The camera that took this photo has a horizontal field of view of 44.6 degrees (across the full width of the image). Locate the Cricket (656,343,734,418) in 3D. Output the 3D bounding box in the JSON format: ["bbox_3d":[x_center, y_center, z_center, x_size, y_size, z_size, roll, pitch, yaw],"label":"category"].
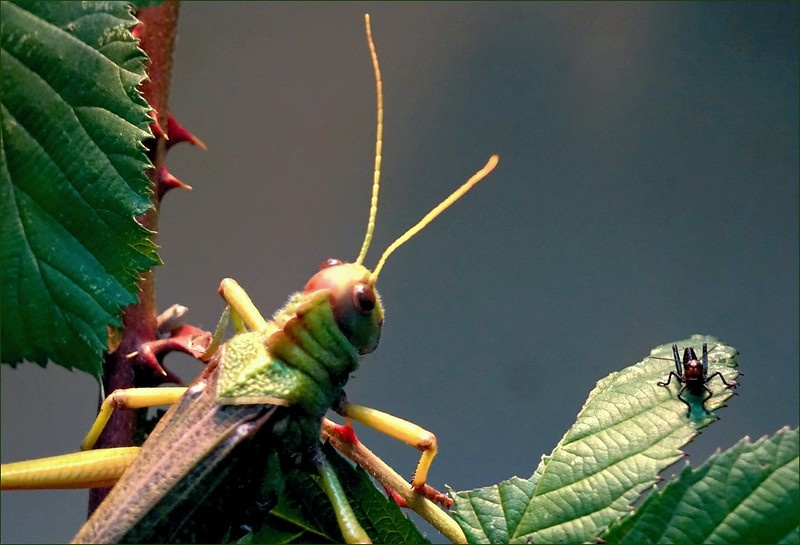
[{"bbox_3d":[0.615,0.200,2.050,0.159,0.222,0.093,-5,-76,11],"label":"Cricket"}]
